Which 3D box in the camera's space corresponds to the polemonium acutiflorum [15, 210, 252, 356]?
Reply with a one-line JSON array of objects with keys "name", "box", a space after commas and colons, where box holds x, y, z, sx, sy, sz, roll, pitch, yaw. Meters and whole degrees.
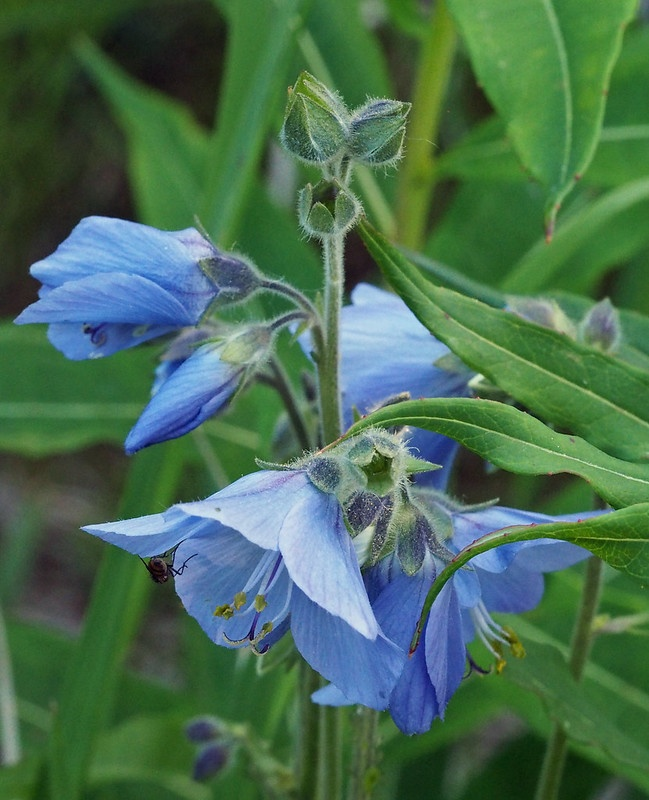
[{"name": "polemonium acutiflorum", "box": [-0.124, -0.075, 0.593, 0.135, 0.075, 0.057, 1, -12, -17]}]

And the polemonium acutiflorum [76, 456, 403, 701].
[{"name": "polemonium acutiflorum", "box": [-0.033, 0.109, 0.551, 0.171, 0.123, 0.129, 0, 8, 14]}]
